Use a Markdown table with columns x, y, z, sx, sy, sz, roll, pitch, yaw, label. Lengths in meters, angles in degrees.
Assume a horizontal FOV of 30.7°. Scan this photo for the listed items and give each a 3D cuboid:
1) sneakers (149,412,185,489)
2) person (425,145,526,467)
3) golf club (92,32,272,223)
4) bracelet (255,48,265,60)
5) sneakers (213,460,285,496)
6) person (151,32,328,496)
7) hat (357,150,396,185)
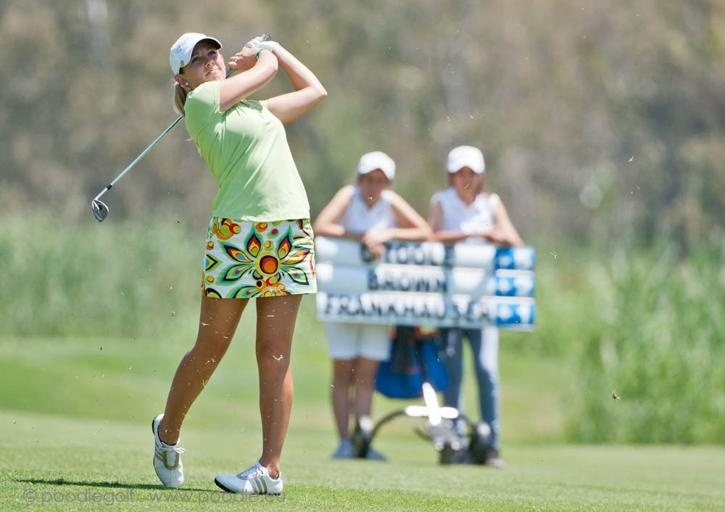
| x | y | z | sx | sy | sz | roll | pitch | yaw | label |
| --- | --- | --- | --- | --- | --- | --- | --- | --- | --- |
| -1.070 | 1.052 | 7.248 | 0.147 | 0.410 | 0.167 | -9 | 6 | -22 | sneakers |
| 0.694 | 0.304 | 8.369 | 0.583 | 1.995 | 0.229 | 2 | -9 | 2 | person |
| -1.123 | -0.835 | 8.129 | 0.178 | 1.496 | 0.219 | 47 | 11 | 35 | golf club |
| -0.552 | -1.101 | 7.230 | 0.017 | 0.049 | 0.036 | 22 | 19 | 40 | bracelet |
| -0.606 | 1.204 | 7.186 | 0.388 | 0.194 | 0.147 | 10 | -8 | -11 | sneakers |
| -0.649 | 0.032 | 7.195 | 0.792 | 2.467 | 0.505 | 4 | -9 | -6 | person |
| 0.087 | -0.588 | 8.492 | 0.235 | 0.209 | 0.155 | 3 | -9 | -1 | hat |
